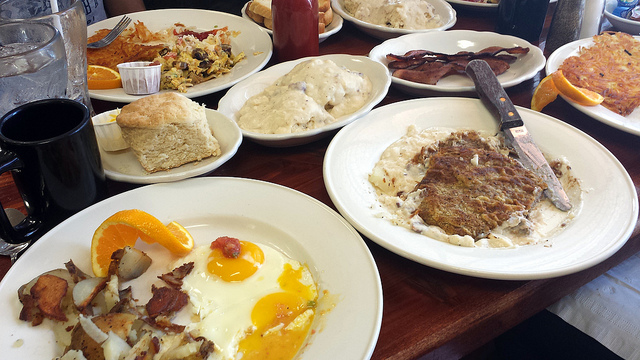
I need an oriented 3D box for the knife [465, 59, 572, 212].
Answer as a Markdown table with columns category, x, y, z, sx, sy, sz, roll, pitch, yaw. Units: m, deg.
| category | x | y | z | sx | sy | sz | roll | pitch | yaw |
| --- | --- | --- | --- | --- | --- | --- | --- | --- | --- |
| knife | 1.074 | -0.284 | 2.418 | 0.156 | 0.158 | 1.072 | -13 | 52 | -9 |
